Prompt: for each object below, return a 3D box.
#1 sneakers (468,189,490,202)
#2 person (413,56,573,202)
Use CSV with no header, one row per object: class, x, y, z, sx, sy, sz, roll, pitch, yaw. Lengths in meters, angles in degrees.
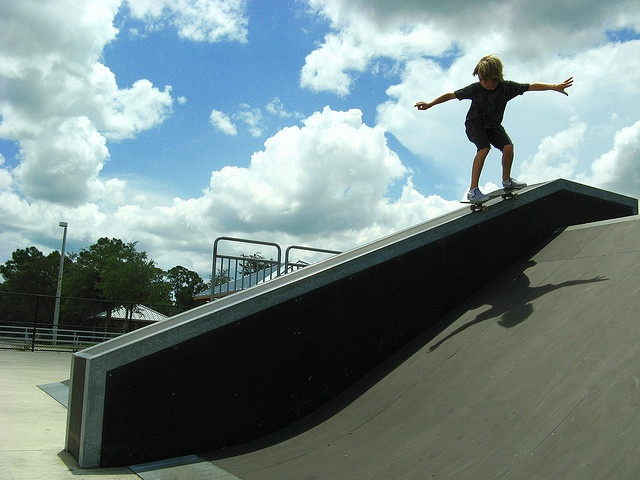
sneakers,1.753,-0.491,6.067,0.212,0.178,0.326,-11,0,17
person,1.961,-1.254,6.270,1.104,1.704,0.576,-11,0,-22
